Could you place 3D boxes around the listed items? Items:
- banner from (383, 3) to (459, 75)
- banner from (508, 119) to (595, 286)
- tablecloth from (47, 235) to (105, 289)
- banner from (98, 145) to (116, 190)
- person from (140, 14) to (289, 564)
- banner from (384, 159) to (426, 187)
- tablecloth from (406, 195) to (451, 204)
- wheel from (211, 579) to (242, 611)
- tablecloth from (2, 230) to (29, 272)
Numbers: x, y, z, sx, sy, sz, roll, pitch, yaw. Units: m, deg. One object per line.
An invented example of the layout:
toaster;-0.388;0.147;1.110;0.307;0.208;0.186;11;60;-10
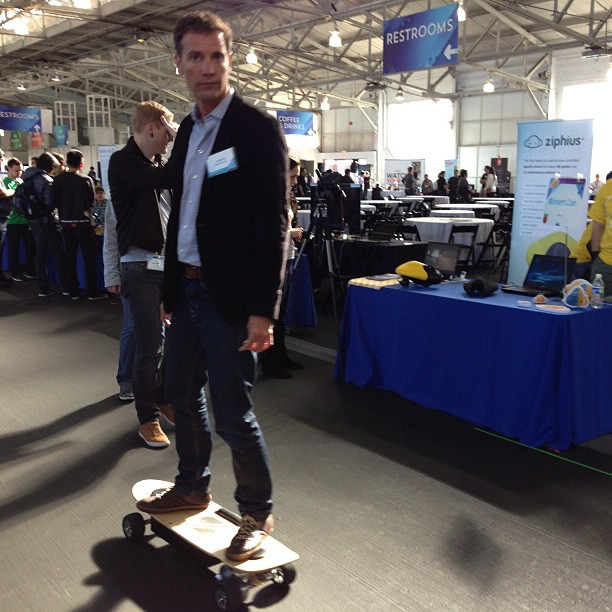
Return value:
banner;1.683;-3.990;7.672;0.151;0.837;1.329;-10;14;-38
banner;2.008;-0.857;4.262;0.607;1.370;0.413;6;13;28
tablecloth;-2.606;-0.516;5.838;0.720;0.451;0.703;3;5;38
banner;-2.705;-1.886;6.932;0.300;0.607;0.016;4;9;19
person;-0.257;-0.022;1.402;0.450;1.436;0.245;10;16;41
banner;3.378;-4.507;17.223;0.899;0.958;1.714;-3;11;-12
tablecloth;3.001;-2.618;12.346;0.714;0.140;0.671;3;8;27
wheel;-0.209;0.758;1.336;0.087;0.107;0.023;6;14;31
tablecloth;-4.249;-0.753;7.429;0.308;0.535;0.854;-7;13;-30
